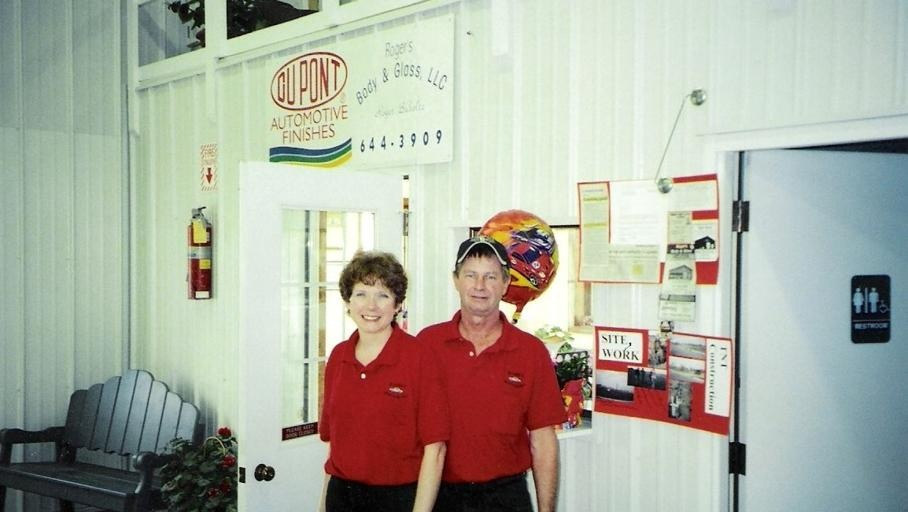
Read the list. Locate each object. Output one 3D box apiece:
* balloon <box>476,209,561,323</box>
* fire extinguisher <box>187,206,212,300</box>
[{"bbox_3d":[0.501,0.054,5.612,0.652,0.832,0.650,-3,4,-28],"label":"balloon"},{"bbox_3d":[-2.354,0.013,7.627,0.173,0.918,0.146,0,2,-25],"label":"fire extinguisher"}]
